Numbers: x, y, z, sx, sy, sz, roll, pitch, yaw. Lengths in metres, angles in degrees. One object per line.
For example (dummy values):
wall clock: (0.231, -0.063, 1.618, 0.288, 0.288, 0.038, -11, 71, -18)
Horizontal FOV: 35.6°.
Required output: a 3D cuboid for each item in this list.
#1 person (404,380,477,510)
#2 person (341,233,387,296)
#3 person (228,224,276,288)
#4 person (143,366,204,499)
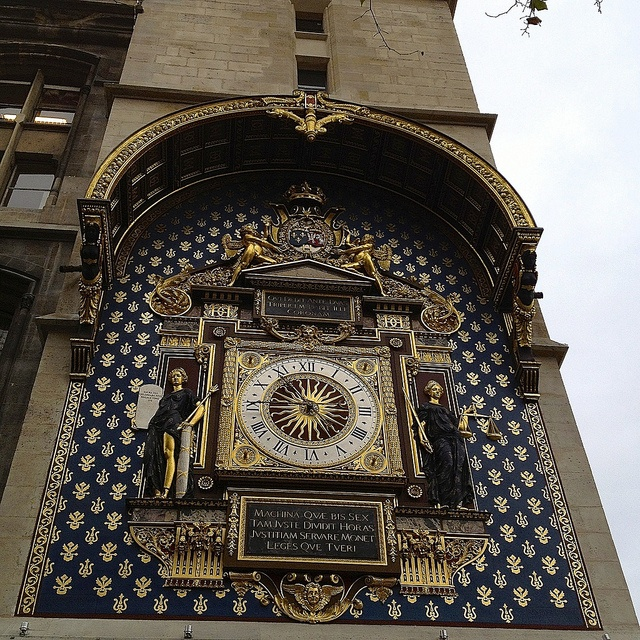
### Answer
person: (2.033, 2.222, 16.835, 0.908, 2.135, 0.382, -5, -33, 4)
person: (0.839, -1.045, 19.525, 1.325, 1.426, 0.305, 8, -47, -1)
person: (-1.329, -1.204, 19.295, 0.966, 1.156, 0.808, 19, -41, -30)
person: (-2.424, 2.007, 16.361, 0.880, 2.103, 0.355, 2, -33, -8)
